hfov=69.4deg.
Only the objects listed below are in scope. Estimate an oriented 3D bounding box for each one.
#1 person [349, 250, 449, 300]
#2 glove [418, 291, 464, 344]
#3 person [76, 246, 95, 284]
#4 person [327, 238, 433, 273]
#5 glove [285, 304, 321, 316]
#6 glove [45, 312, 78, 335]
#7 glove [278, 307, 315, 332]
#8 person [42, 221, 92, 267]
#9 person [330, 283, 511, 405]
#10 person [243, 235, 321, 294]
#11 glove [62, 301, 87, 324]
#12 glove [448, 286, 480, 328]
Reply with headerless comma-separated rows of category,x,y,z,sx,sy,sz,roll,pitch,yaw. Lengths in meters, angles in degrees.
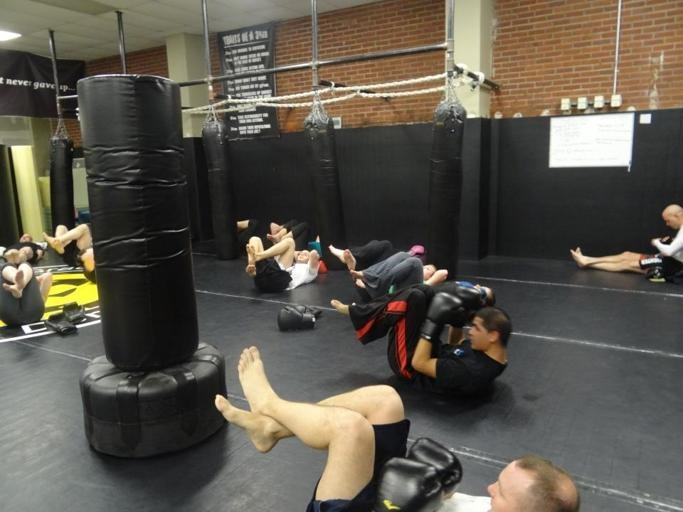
person,0.624,0.287,5.473,0.812,0.315,0.600,7,13,-14
glove,0.727,0.434,3.585,0.280,0.361,0.147,22,10,3
person,-3.369,0.134,6.569,0.165,0.552,0.775,-12,15,-28
person,0.320,-0.017,6.605,0.894,0.257,0.557,-9,33,-24
glove,-0.403,0.571,5.280,0.302,0.121,0.171,-1,5,-2
glove,-2.928,0.704,5.183,0.232,0.165,0.401,-14,16,-38
glove,-0.470,0.630,5.103,0.326,0.170,0.243,0,9,-17
person,-4.244,-0.184,7.252,1.119,0.613,0.461,-2,3,34
person,0.920,0.460,4.302,1.759,0.950,0.935,6,6,21
person,-0.818,0.070,6.530,1.008,0.721,0.633,-10,14,-26
glove,-2.946,0.620,5.446,0.260,0.207,0.191,13,20,34
glove,0.906,0.354,3.583,0.294,0.274,0.237,-6,-2,-2
